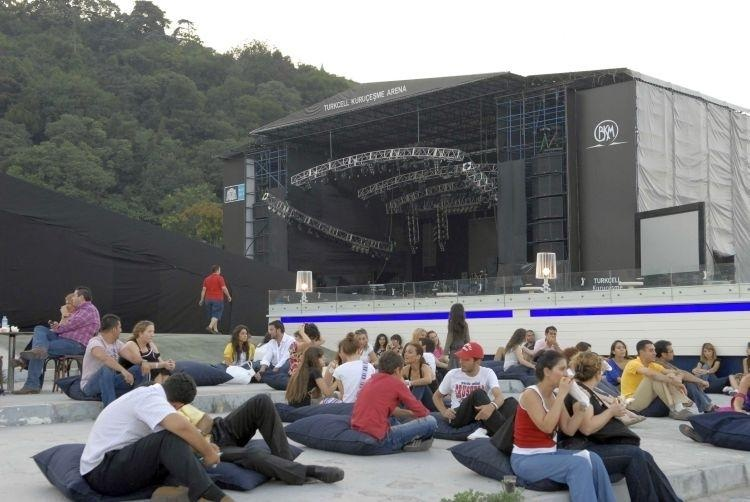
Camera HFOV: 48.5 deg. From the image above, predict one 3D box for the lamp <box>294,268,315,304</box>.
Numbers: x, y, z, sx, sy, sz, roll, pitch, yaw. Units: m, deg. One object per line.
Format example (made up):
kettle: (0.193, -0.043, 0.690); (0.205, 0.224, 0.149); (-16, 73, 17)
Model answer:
lamp: (-2.729, 1.395, 32.196); (0.667, 1.262, 0.636); (-6, 13, -45)

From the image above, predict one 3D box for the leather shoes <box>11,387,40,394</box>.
leather shoes: (-7.123, 2.893, 17.024); (0.488, 0.212, 0.182); (10, -15, -15)

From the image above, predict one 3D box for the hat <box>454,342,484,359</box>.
hat: (1.647, 1.706, 14.347); (0.375, 0.230, 0.286); (5, -3, 11)

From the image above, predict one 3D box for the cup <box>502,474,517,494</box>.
cup: (1.934, 3.387, 12.079); (0.185, 0.217, 0.192); (0, -8, 0)

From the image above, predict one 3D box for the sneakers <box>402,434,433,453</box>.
sneakers: (0.738, 3.291, 14.130); (0.564, 0.236, 0.194); (-18, 8, -6)

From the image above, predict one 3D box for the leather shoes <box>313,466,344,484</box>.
leather shoes: (-0.703, 3.405, 12.596); (0.402, 0.236, 0.164); (16, 37, 3)
